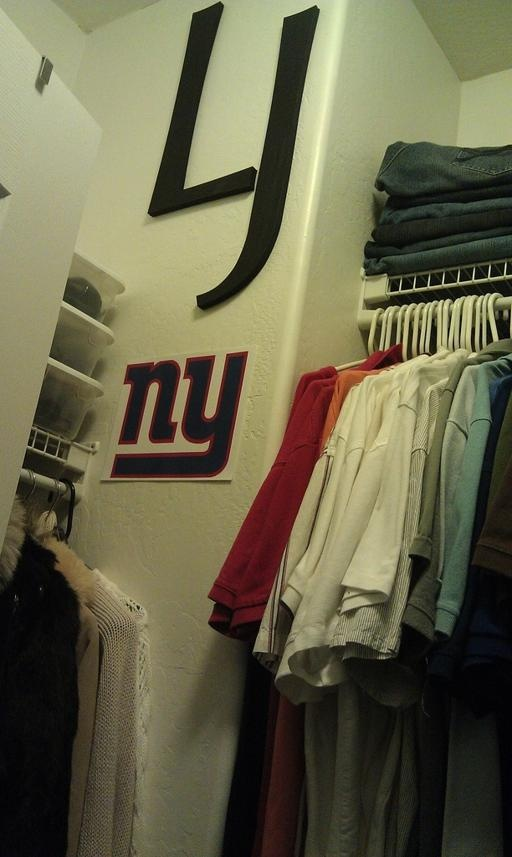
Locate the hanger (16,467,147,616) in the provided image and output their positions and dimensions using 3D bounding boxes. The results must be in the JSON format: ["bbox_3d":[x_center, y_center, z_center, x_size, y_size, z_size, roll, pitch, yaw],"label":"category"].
[{"bbox_3d":[-0.344,0.233,1.199,0.020,0.252,0.225,-30,-61,15],"label":"hanger"}]

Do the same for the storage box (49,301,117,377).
[{"bbox_3d":[-0.423,-0.239,1.429,0.125,0.130,0.160,-13,-41,39],"label":"storage box"}]

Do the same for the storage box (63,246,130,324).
[{"bbox_3d":[-0.395,-0.340,1.449,0.108,0.122,0.170,-19,-39,28],"label":"storage box"}]
